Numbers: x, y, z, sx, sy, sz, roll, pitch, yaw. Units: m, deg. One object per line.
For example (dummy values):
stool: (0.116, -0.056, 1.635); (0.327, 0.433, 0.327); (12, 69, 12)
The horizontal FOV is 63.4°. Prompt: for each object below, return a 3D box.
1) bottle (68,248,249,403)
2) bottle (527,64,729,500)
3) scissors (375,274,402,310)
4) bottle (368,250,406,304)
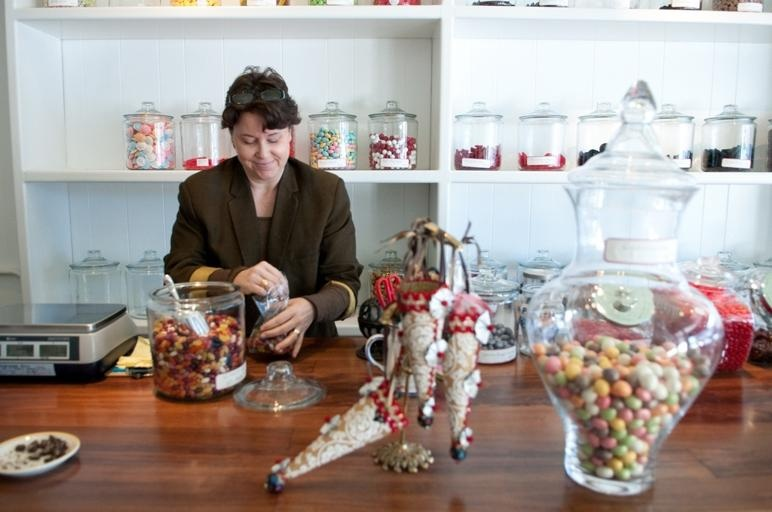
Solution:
bottle: (-0.678, 0.197, 1.858); (0.344, 0.374, 0.341); (-5, 7, -33)
bottle: (0.561, 0.082, 1.483); (0.444, 0.965, 0.253); (-1, 10, 17)
scissors: (0.002, 0.109, 1.888); (0.028, 0.104, 0.089); (5, -7, -43)
bottle: (-0.028, 0.070, 2.693); (0.178, 0.250, 0.175); (1, -2, 0)
